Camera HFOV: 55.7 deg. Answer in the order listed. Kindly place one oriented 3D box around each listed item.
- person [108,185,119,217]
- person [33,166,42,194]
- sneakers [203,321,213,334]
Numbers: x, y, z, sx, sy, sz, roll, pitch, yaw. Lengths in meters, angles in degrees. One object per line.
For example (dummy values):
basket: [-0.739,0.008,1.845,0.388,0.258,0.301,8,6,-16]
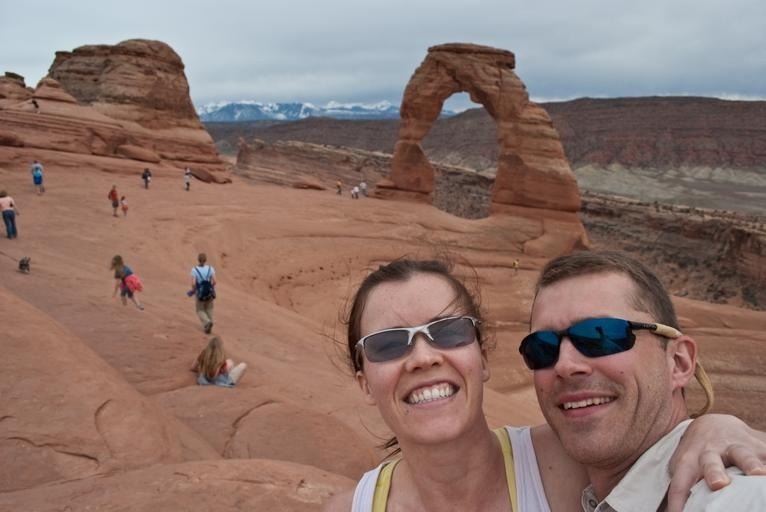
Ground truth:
person: [-11.621,-2.463,31.415,0.330,1.248,1.578,-4,14,-21]
person: [-15.264,-3.447,32.104,0.351,1.190,0.925,-4,14,-24]
sneakers: [-5.490,2.273,22.827,0.191,0.430,0.195,5,5,-35]
